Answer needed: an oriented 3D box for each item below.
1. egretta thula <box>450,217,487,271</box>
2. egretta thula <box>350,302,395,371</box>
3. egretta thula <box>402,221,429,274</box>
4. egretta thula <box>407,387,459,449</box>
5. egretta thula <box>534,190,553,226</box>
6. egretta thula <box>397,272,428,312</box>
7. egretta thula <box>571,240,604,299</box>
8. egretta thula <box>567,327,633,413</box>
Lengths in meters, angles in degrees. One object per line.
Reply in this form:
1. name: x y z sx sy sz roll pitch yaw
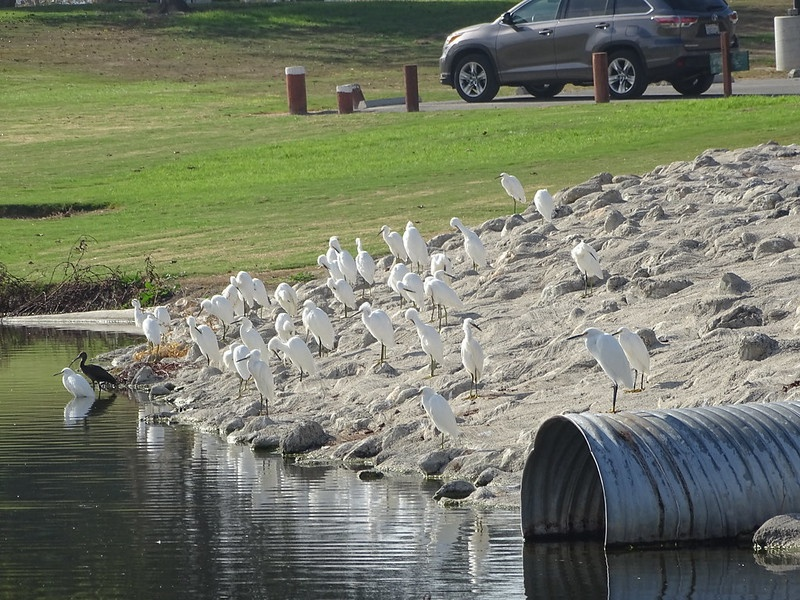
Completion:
1. egretta thula: 1.630 -1.336 55.553 0.765 1.182 2.869 -2 1 -3
2. egretta thula: -0.461 0.662 52.755 0.735 1.299 2.203 -2 1 -1
3. egretta thula: 0.410 -1.243 55.281 0.602 1.163 1.350 -2 1 1
4. egretta thula: 0.830 2.293 48.867 0.776 1.229 1.054 -2 1 1
5. egretta thula: 3.444 -2.114 55.285 0.287 0.579 0.874 -10 -23 -6
6. egretta thula: 0.327 -0.272 52.820 0.727 1.043 0.521 1 5 3
7. egretta thula: 4.153 -0.707 52.400 0.672 1.171 1.431 -1 1 4
8. egretta thula: 4.225 1.335 48.387 1.006 1.658 1.254 -1 1 5
